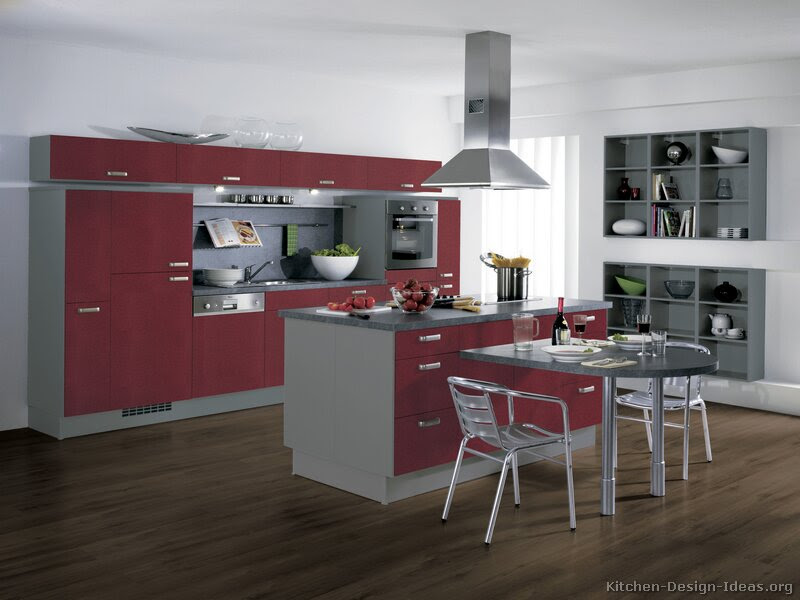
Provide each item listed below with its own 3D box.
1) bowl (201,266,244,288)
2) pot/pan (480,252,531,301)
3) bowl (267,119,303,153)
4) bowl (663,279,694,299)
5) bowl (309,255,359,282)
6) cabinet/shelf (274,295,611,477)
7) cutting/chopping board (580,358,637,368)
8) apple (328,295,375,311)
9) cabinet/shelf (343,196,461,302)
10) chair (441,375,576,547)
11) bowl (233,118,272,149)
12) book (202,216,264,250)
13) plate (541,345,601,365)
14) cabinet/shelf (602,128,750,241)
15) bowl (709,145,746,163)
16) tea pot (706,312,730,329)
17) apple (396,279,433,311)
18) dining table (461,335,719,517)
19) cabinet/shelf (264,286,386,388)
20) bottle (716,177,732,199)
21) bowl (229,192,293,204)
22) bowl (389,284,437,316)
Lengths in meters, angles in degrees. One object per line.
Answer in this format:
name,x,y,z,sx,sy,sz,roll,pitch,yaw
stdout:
bowl,-1.784,-0.231,6.104,0.503,0.164,0.394,1,5,7
pot/pan,0.896,-0.207,5.162,0.327,0.380,0.320,1,5,7
bowl,-1.173,-1.713,6.556,0.370,0.235,0.323,2,6,13
bowl,2.950,-0.125,6.632,0.244,0.122,0.229,0,3,0
bowl,-0.698,-0.327,6.738,0.363,0.165,0.350,0,1,0
cabinet/shelf,0.101,0.613,5.121,1.264,1.006,2.492,5,3,30
cutting/chopping board,1.176,0.349,3.532,0.271,0.016,0.245,2,5,22
apple,-0.355,0.023,4.277,0.221,0.081,0.228,-1,3,42
cabinet/shelf,0.029,-0.604,7.453,0.737,1.099,1.430,6,7,38
chair,0.645,0.853,3.580,0.709,0.723,0.741,-2,-4,38
bowl,-1.492,-1.672,6.364,0.345,0.243,0.345,1,7,0
book,-1.688,-0.703,6.461,0.598,0.298,0.208,-4,7,-42
plate,1.030,0.299,3.749,0.348,0.069,0.399,1,5,14
cabinet/shelf,2.889,-1.187,6.622,1.512,0.905,0.371,5,10,35
bowl,3.291,-1.474,6.334,0.165,0.222,0.363,-4,6,-37
tea pot,3.262,0.201,6.442,0.197,0.112,0.143,-1,0,29
apple,0.100,-0.043,4.260,0.236,0.135,0.221,1,-2,-22
dining table,1.217,0.746,3.811,1.430,0.741,1.049,-5,5,-42
cabinet/shelf,-0.738,0.324,6.689,0.519,0.837,1.535,4,17,29
bottle,3.341,-1.157,6.438,0.140,0.207,0.080,3,6,26
bowl,-1.449,-1.060,6.521,0.756,0.131,0.172,-4,6,-41
bowl,0.053,-0.006,4.315,0.258,0.142,0.241,0,0,0
